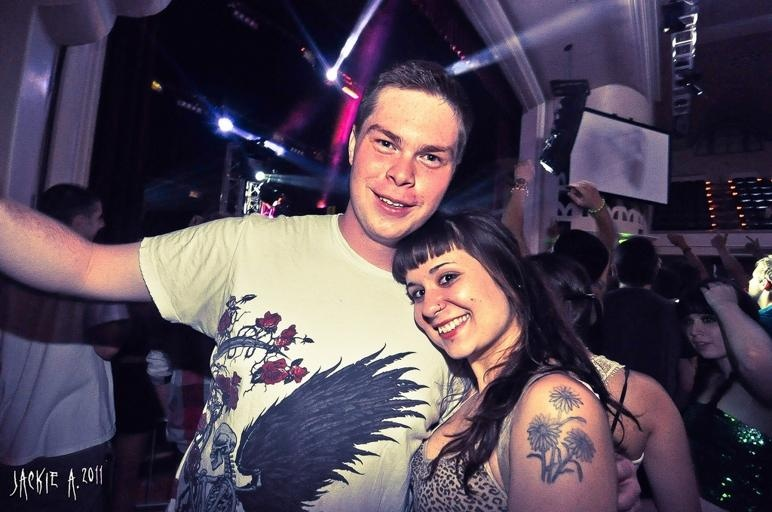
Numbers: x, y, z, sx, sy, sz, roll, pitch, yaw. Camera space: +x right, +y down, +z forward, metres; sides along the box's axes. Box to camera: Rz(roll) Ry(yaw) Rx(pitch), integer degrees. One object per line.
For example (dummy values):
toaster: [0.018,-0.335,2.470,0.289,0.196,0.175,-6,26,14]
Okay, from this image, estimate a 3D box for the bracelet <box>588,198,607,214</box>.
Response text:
bracelet: [2.391,-0.557,6.038,0.185,0.051,0.180,-22,-9,-33]

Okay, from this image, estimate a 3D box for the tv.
tv: [3.791,-1.577,8.629,2.180,1.293,0.157,6,2,-24]
